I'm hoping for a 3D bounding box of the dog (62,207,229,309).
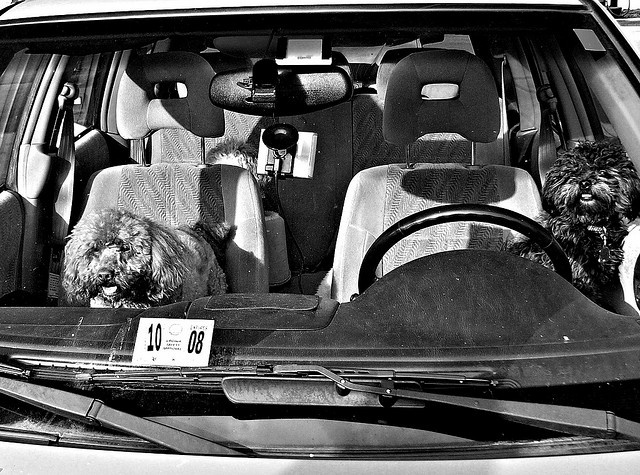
[{"bbox_3d":[-0.741,0.094,2.607,0.398,0.292,0.654,-2,-2,13],"label":"dog"}]

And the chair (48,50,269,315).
[{"bbox_3d":[-0.544,-0.166,2.586,0.755,1.168,0.912,-5,14,-15],"label":"chair"}]

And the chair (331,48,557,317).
[{"bbox_3d":[0.470,-0.321,2.993,0.952,1.250,1.042,1,13,5],"label":"chair"}]
